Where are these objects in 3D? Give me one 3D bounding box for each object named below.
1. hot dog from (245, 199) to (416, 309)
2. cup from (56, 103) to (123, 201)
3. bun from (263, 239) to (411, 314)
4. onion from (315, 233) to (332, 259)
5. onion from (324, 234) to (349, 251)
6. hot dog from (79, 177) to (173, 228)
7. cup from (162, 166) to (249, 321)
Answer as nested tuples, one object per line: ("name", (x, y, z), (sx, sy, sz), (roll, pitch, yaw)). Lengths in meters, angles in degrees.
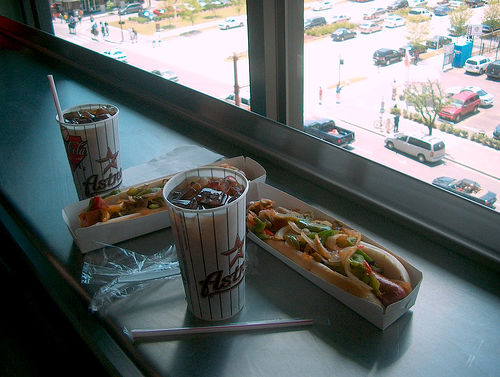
("hot dog", (0.124, 0.108, 0.673), (0.123, 0.068, 0.294), (-35, 48, -29))
("cup", (-0.336, -0.057, 0.841), (0.105, 0.234, 0.110), (1, 27, -1))
("bun", (0.143, 0.115, 0.637), (0.102, 0.041, 0.242), (-24, 33, -38))
("onion", (0.112, 0.095, 0.616), (0.011, 0.030, 0.027), (-30, 5, 12))
("onion", (0.144, 0.088, 0.634), (0.031, 0.023, 0.011), (-18, 46, 12))
("hot dog", (-0.243, 0.028, 0.746), (0.176, 0.052, 0.087), (-14, 29, -24))
("cup", (-0.055, 0.077, 0.566), (0.103, 0.213, 0.120), (-9, 26, -19))
